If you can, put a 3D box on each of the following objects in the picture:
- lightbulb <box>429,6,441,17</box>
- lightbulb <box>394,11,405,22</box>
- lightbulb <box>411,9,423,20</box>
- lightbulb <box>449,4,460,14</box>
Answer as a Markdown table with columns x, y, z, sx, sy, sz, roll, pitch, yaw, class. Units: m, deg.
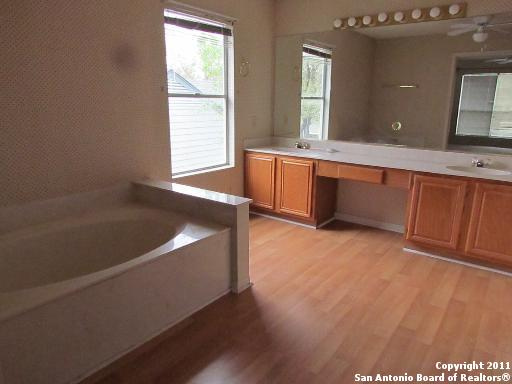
| x | y | z | sx | sy | sz | roll | pitch | yaw | class |
| --- | --- | --- | --- | --- | --- | --- | --- | --- | --- |
| 1.772 | -1.802 | 3.578 | 0.111 | 0.102 | 0.066 | 12 | 21 | 32 | lightbulb |
| 1.485 | -1.832 | 3.746 | 0.093 | 0.096 | 0.069 | 41 | 40 | 25 | lightbulb |
| 1.637 | -1.818 | 3.672 | 0.111 | 0.099 | 0.048 | 7 | 18 | 19 | lightbulb |
| 1.912 | -1.775 | 3.477 | 0.094 | 0.090 | 0.044 | 10 | 20 | 27 | lightbulb |
